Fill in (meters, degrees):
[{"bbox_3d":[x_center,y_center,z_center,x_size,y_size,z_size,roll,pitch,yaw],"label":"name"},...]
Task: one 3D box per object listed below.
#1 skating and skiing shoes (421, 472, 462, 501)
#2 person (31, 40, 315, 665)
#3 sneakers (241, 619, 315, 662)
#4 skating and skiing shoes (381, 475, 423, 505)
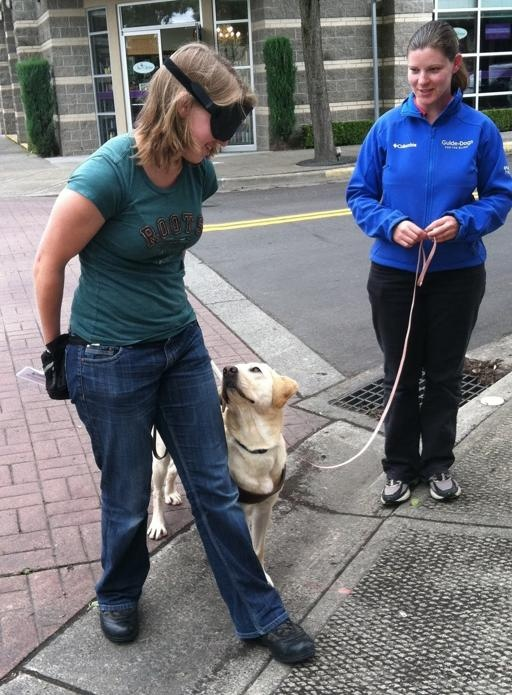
[{"bbox_3d":[0.891,0.658,2.942,0.095,0.064,0.175,-6,10,-5],"label":"skating and skiing shoes"},{"bbox_3d":[-0.166,0.068,1.984,1.117,1.833,0.703,5,10,37],"label":"person"},{"bbox_3d":[0.086,0.966,2.043,0.134,0.115,0.302,1,-16,-29],"label":"sneakers"},{"bbox_3d":[0.708,0.683,2.953,0.085,0.093,0.229,-4,5,31],"label":"skating and skiing shoes"}]
